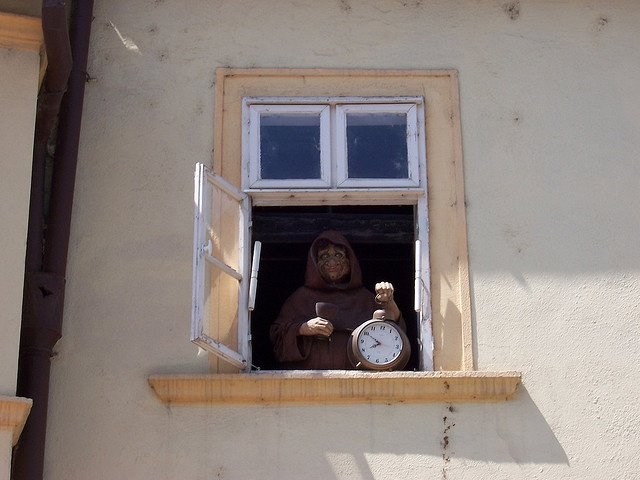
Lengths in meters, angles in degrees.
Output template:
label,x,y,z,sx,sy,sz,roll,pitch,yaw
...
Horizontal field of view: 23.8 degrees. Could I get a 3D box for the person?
label,x,y,z,sx,sy,sz,roll,pitch,yaw
person,0.109,0.762,12.904,1.018,1.704,0.866,-1,-27,4

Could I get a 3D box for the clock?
label,x,y,z,sx,sy,sz,roll,pitch,yaw
clock,0.459,0.800,12.173,0.461,0.618,0.188,2,-41,3
